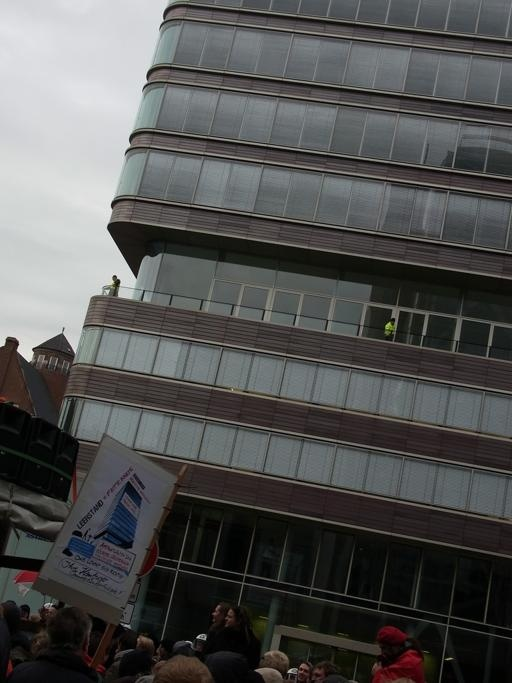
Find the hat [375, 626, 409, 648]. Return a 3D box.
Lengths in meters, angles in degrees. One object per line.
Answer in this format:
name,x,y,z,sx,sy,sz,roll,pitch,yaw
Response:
hat,1.605,3.524,13.359,0.342,0.155,0.225,5,16,9
